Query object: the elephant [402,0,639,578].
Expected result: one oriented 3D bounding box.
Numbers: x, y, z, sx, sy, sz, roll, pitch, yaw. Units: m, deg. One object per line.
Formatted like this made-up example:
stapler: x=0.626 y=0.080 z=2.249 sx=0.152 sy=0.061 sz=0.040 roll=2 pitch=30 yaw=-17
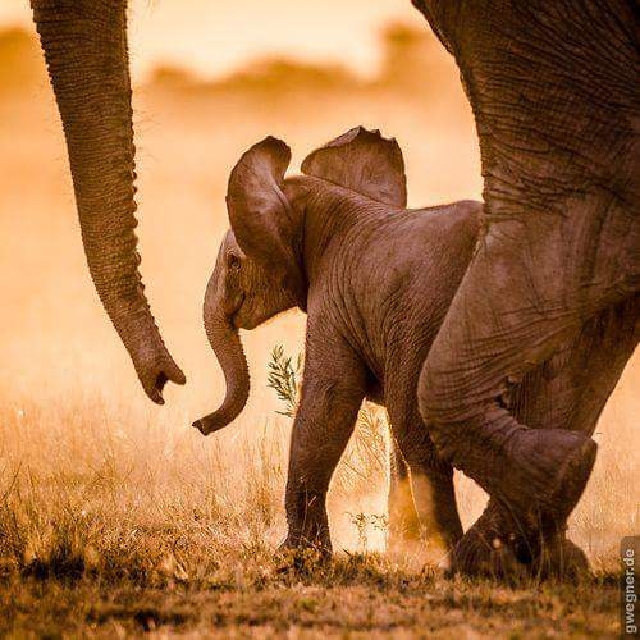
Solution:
elephant: x=0.930 y=-0.111 z=5.283 sx=0.997 sy=2.513 sz=0.729 roll=2 pitch=3 yaw=4
